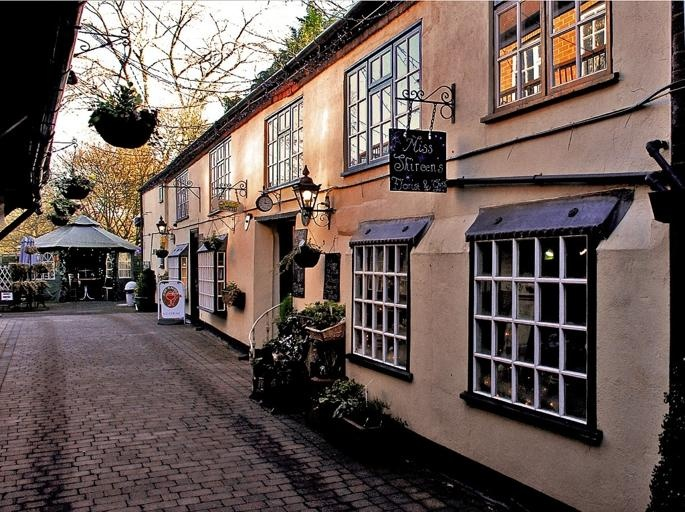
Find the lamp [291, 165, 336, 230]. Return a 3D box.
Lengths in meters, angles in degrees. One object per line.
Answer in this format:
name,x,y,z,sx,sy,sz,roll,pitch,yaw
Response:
lamp,-0.535,-0.941,9.809,0.588,0.981,0.917,-1,2,-17

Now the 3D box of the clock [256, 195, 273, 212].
clock,-1.541,-1.100,11.985,0.317,0.390,0.521,0,2,-1

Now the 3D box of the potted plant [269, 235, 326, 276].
potted plant,-0.698,-0.003,9.669,0.668,0.359,0.581,-11,-2,0

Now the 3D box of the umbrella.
umbrella,-11.832,0.041,27.974,4.408,3.897,3.140,-1,2,-29

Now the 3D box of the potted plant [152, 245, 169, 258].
potted plant,-6.585,-0.144,21.793,0.509,0.364,0.531,1,6,9

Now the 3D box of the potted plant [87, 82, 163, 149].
potted plant,-2.109,-1.382,5.800,0.635,0.599,0.466,-1,2,-19

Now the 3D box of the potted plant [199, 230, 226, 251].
potted plant,-3.164,-0.339,14.918,0.490,0.430,0.696,-1,2,-24
